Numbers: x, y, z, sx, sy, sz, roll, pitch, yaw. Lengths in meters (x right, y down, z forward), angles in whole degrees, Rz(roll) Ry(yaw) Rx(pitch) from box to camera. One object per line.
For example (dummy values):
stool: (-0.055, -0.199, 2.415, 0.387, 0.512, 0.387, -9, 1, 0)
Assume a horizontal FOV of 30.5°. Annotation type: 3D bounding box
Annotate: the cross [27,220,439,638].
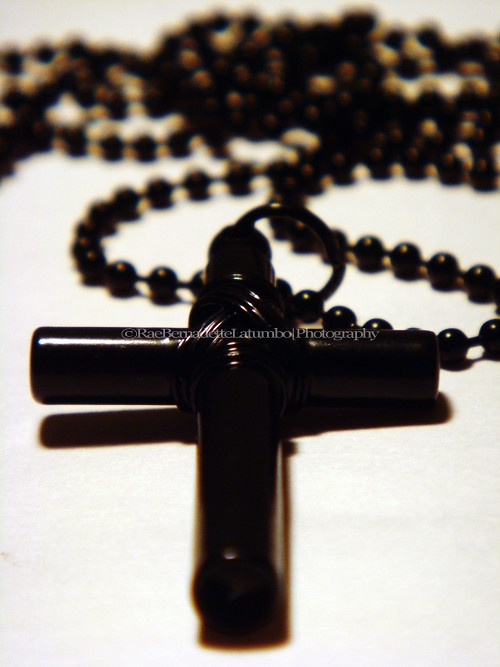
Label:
cross: (-0.003, 0.045, 0.738, 0.227, 0.088, 0.325, 2, 33, 0)
